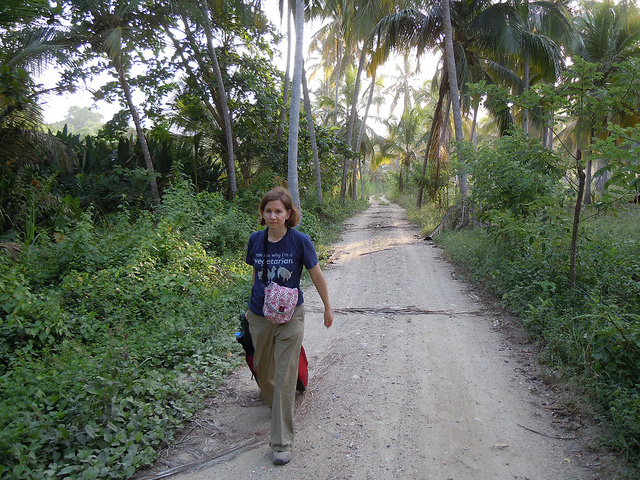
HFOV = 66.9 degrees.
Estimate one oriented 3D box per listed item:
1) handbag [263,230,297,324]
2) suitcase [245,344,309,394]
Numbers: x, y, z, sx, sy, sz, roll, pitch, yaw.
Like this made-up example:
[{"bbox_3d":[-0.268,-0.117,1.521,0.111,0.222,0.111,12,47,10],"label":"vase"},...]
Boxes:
[{"bbox_3d":[-0.567,0.503,6.183,0.498,1.125,0.311,6,14,32],"label":"handbag"},{"bbox_3d":[-0.580,1.807,6.804,0.829,0.803,0.706,-3,12,-5],"label":"suitcase"}]
